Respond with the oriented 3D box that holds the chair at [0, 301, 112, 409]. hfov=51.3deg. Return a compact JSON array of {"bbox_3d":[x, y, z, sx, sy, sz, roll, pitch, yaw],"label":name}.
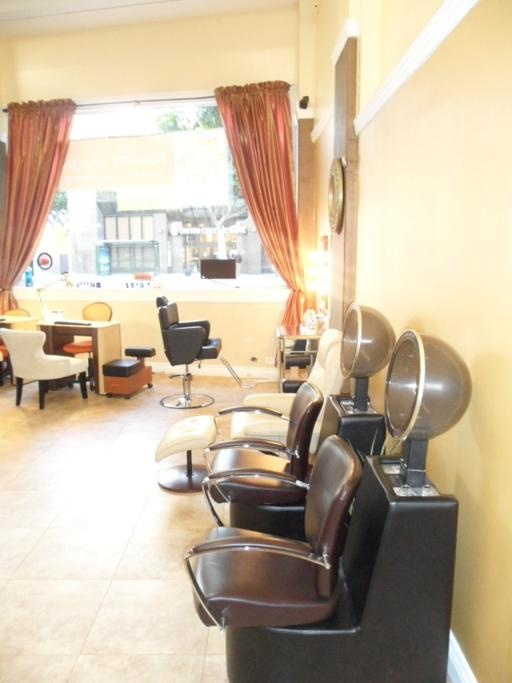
[{"bbox_3d":[-2.121,0.087,5.847,0.761,0.952,1.111,5,12,21],"label":"chair"}]
